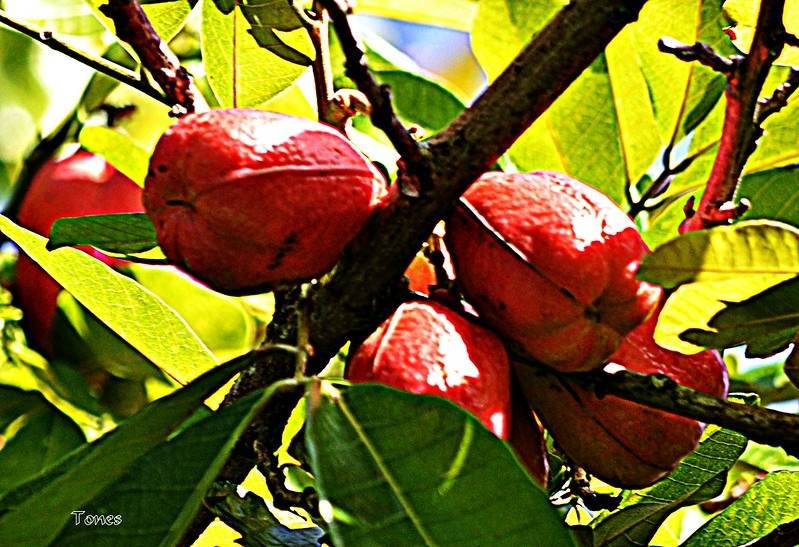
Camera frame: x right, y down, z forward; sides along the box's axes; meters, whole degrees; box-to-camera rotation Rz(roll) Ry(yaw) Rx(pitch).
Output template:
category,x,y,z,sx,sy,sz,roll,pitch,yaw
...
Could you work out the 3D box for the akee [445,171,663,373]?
category,x,y,z,sx,sy,sz,roll,pitch,yaw
akee,0.213,-0.012,1.518,0.358,0.256,0.258,30,-13,21
